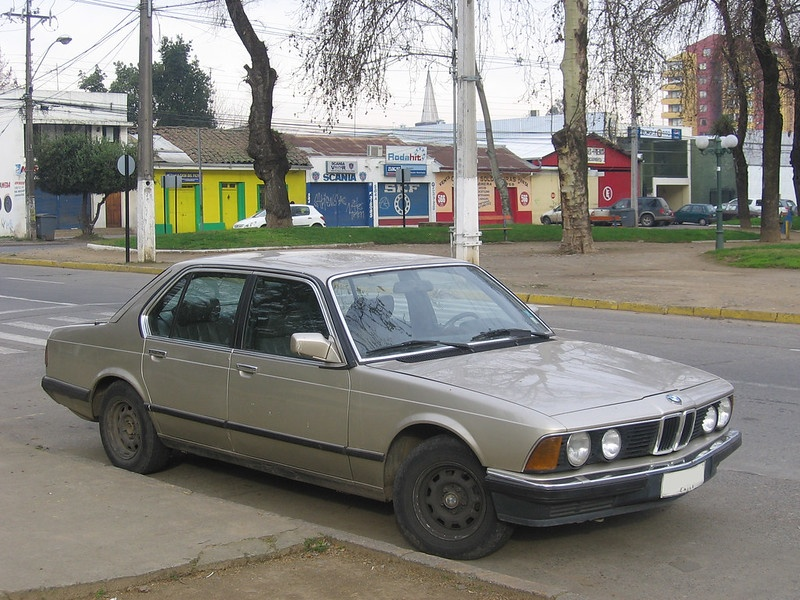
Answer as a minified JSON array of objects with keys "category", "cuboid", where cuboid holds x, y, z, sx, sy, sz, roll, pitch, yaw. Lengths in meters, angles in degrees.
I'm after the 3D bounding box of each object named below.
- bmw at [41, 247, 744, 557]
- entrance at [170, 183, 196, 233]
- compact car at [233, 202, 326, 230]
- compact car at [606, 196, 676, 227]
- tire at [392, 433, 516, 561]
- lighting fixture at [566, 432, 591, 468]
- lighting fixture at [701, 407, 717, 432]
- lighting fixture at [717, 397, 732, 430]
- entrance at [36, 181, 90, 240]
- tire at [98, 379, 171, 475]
[{"category":"bmw","cuboid":[-0.301,0.604,5.508,4.375,1.357,2.028,4,6,34]},{"category":"entrance","cuboid":[-13.287,-5.587,47.401,0.707,2.845,1.603,6,10,34]},{"category":"compact car","cuboid":[-6.199,-4.961,41.976,5.080,1.832,2.302,-1,1,-28]},{"category":"compact car","cuboid":[17.175,-6.257,54.410,4.500,1.870,2.199,3,5,5]},{"category":"tire","cuboid":[0.332,1.136,4.439,0.581,0.579,0.204,-42,-19,22]},{"category":"lighting fixture","cuboid":[0.981,0.815,4.236,0.164,0.164,0.085,-19,15,-35]},{"category":"lighting fixture","cuboid":[1.965,0.759,4.867,0.112,0.161,0.054,-8,18,-40]},{"category":"lighting fixture","cuboid":[2.127,0.735,5.029,0.068,0.182,0.186,14,22,29]},{"category":"entrance","cuboid":[-21.908,-5.765,49.950,4.028,3.065,2.427,-2,9,-21]},{"category":"tire","cuboid":[-2.049,0.989,6.015,0.722,0.728,0.233,8,8,40]}]
